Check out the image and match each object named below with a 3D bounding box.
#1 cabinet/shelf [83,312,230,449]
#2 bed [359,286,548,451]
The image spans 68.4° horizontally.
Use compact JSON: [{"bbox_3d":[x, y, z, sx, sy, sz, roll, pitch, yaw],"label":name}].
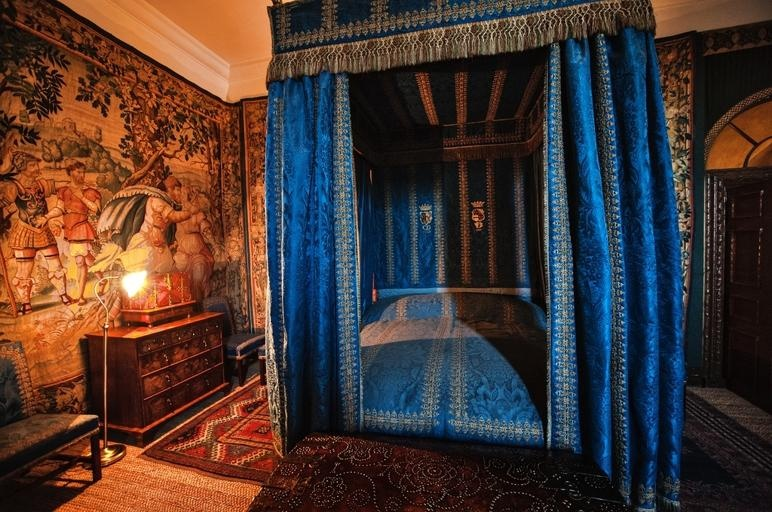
[{"bbox_3d":[-2.506,1.298,6.509,0.702,1.087,1.304,-2,7,25],"label":"cabinet/shelf"},{"bbox_3d":[0.677,1.020,5.776,1.937,1.100,1.859,-3,4,9],"label":"bed"}]
